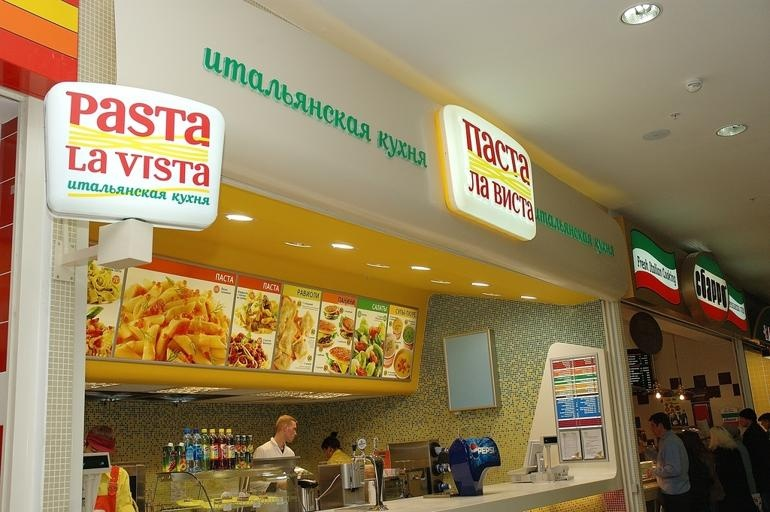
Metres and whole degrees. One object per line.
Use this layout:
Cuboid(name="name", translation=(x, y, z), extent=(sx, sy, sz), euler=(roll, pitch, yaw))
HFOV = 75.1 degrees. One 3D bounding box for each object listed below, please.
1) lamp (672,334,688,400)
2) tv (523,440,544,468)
Cuboid(name="lamp", translation=(6.237, 2.271, 10.654), extent=(0.135, 1.102, 0.159), euler=(11, -18, -37))
Cuboid(name="tv", translation=(1.501, 1.985, 5.011), extent=(0.196, 0.246, 0.069), euler=(0, -14, 0))
